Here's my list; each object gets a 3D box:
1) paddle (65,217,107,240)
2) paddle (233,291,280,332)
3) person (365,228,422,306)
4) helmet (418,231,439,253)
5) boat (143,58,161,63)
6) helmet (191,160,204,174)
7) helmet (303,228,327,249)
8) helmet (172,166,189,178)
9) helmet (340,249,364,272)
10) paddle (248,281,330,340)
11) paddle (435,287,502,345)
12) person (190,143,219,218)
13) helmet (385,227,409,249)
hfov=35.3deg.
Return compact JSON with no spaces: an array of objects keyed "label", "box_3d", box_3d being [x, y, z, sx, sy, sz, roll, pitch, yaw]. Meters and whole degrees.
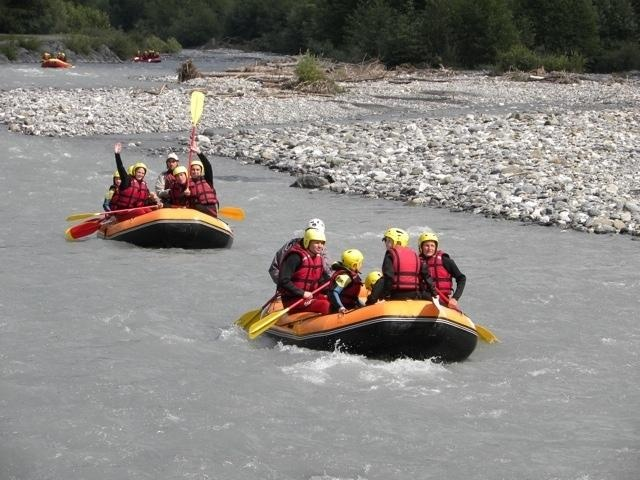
[{"label":"paddle","box_3d":[-4.811,-0.238,20.822,0.198,0.277,0.978,-19,6,46]},{"label":"paddle","box_3d":[-0.992,1.217,17.060,1.176,0.317,0.103,-35,-26,17]},{"label":"person","box_3d":[1.189,0.568,15.841,0.830,0.939,0.233,3,13,4]},{"label":"helmet","box_3d":[1.710,-0.020,16.070,0.376,0.354,0.414,4,-32,1]},{"label":"boat","box_3d":[-12.745,-13.740,77.106,0.779,0.198,0.693,-1,-1,-17]},{"label":"helmet","box_3d":[-2.500,-1.516,20.724,0.239,0.259,0.209,3,39,-3]},{"label":"helmet","box_3d":[-0.096,-0.025,16.226,0.348,0.343,0.236,2,12,1]},{"label":"helmet","box_3d":[-2.808,-1.394,20.336,0.259,0.276,0.222,-3,34,-3]},{"label":"helmet","box_3d":[0.574,0.301,16.230,0.440,0.321,0.328,-2,18,-30]},{"label":"paddle","box_3d":[-0.456,1.178,16.522,2.120,0.288,0.086,-24,-16,-5]},{"label":"paddle","box_3d":[2.324,1.257,16.265,1.986,0.196,0.405,28,22,-37]},{"label":"person","box_3d":[-2.361,-1.231,20.579,0.613,1.498,0.855,1,13,-6]},{"label":"helmet","box_3d":[1.230,-0.044,16.113,0.416,0.295,0.284,16,1,10]}]
